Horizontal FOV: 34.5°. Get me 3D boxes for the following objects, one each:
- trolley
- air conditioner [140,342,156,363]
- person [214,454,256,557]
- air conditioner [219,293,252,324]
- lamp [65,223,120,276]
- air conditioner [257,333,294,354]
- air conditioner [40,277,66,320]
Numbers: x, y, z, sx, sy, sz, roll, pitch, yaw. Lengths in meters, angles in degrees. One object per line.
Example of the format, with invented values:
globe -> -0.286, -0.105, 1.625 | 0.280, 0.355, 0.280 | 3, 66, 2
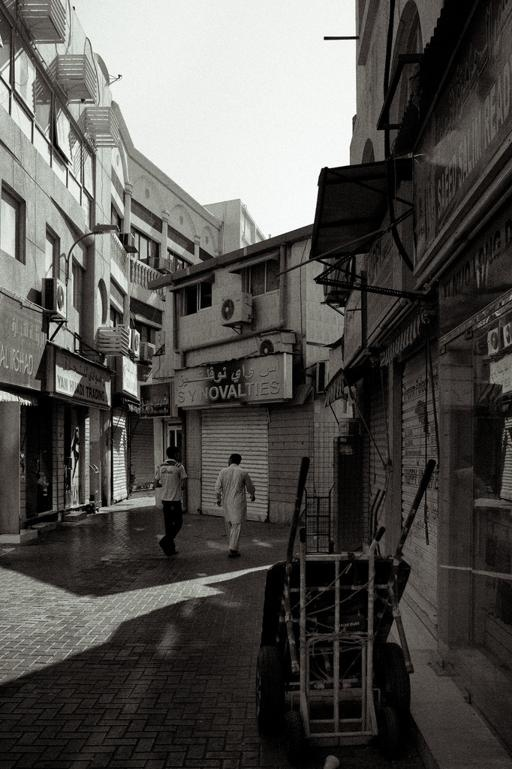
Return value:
trolley -> 0.428, 1.389, 5.167 | 0.759, 2.629, 1.467 | 2, -6, -3
air conditioner -> -4.186, -1.280, 31.901 | 0.549, 0.713, 1.735 | -1, -3, -9
person -> -0.307, 1.772, 12.368 | 0.564, 1.462, 0.964 | -1, -2, -3
air conditioner -> -0.434, -1.695, 18.957 | 0.788, 0.709, 0.561 | -4, -3, 45
lamp -> -3.947, -2.879, 19.524 | 1.009, 1.854, 0.612 | 3, -39, -4
air conditioner -> 0.417, -0.869, 17.588 | 0.950, 0.408, 0.375 | -4, -4, 44
air conditioner -> -3.905, -1.616, 15.813 | 0.187, 0.804, 0.662 | -1, -6, 2
